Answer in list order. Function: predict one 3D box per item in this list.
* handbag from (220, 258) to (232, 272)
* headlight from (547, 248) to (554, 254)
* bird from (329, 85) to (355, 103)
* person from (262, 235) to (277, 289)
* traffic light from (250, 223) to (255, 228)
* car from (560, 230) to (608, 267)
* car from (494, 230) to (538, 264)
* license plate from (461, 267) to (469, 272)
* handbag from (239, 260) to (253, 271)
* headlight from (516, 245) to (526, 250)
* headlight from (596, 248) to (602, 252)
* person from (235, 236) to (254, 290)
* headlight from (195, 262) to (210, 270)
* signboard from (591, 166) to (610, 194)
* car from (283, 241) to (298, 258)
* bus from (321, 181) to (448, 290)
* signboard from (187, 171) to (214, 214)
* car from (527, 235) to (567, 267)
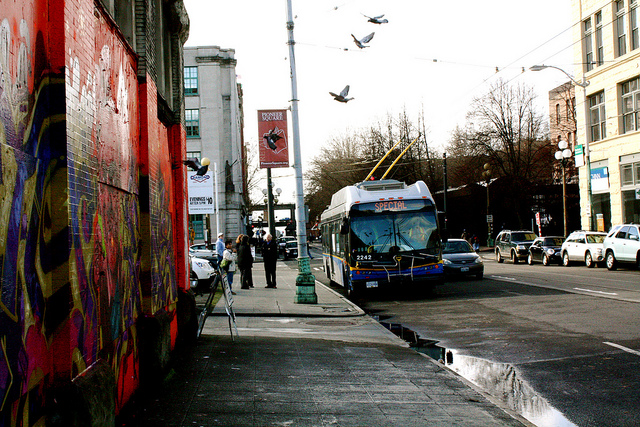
[{"bbox_3d":[-2.515,1.380,18.946,0.285,0.450,0.392,-1,16,-9],"label":"handbag"},{"bbox_3d":[11.012,1.806,34.055,0.198,0.073,0.210,3,16,22],"label":"headlight"},{"bbox_3d":[0.575,-3.125,18.732,0.330,0.453,0.666,-2,-1,25],"label":"bird"},{"bbox_3d":[-1.787,1.673,24.910,0.479,1.873,0.811,-2,0,-5],"label":"person"},{"bbox_3d":[-3.417,0.632,36.206,0.263,0.295,0.274,-4,3,-14],"label":"traffic light"},{"bbox_3d":[11.780,1.456,31.560,1.001,1.102,2.335,0,-6,-13],"label":"car"},{"bbox_3d":[10.382,1.655,37.580,1.169,1.200,2.521,-1,-7,-11],"label":"car"},{"bbox_3d":[5.189,1.997,25.612,0.194,0.152,0.101,2,-5,20],"label":"license plate"},{"bbox_3d":[-2.569,1.794,24.299,0.332,0.275,0.341,0,4,-9],"label":"handbag"},{"bbox_3d":[10.226,1.722,36.283,0.424,0.217,0.222,-2,-1,12],"label":"headlight"},{"bbox_3d":[11.843,1.566,30.244,0.119,0.059,0.157,1,-11,-1],"label":"headlight"},{"bbox_3d":[-2.583,1.674,24.259,0.518,1.811,0.975,-2,0,-9],"label":"person"},{"bbox_3d":[-4.008,1.748,24.056,0.282,0.119,0.220,24,0,-20],"label":"headlight"},{"bbox_3d":[15.498,-1.855,40.314,1.490,1.562,0.811,-6,-1,-26],"label":"signboard"},{"bbox_3d":[-2.200,2.635,52.309,1.074,1.061,1.944,0,-7,-10],"label":"car"},{"bbox_3d":[1.550,0.900,22.865,1.724,2.313,5.576,-2,-9,-10],"label":"bus"},{"bbox_3d":[-3.922,-0.691,23.238,0.763,1.369,1.065,-2,0,-12],"label":"signboard"},{"bbox_3d":[11.132,1.803,34.819,1.057,0.975,1.853,-1,-6,-12],"label":"car"}]
